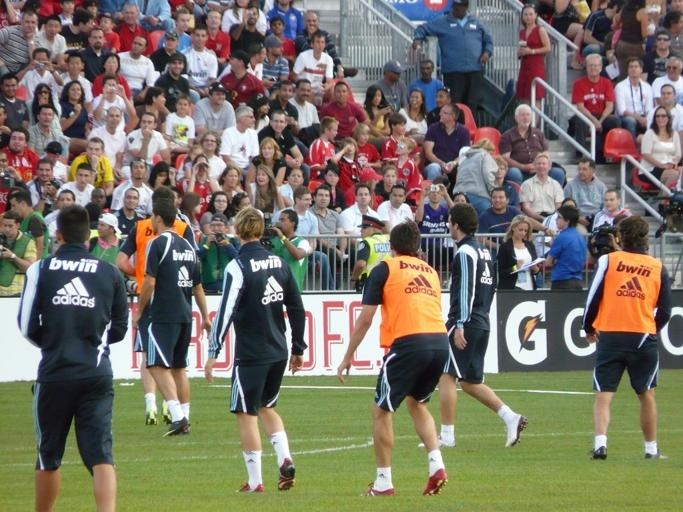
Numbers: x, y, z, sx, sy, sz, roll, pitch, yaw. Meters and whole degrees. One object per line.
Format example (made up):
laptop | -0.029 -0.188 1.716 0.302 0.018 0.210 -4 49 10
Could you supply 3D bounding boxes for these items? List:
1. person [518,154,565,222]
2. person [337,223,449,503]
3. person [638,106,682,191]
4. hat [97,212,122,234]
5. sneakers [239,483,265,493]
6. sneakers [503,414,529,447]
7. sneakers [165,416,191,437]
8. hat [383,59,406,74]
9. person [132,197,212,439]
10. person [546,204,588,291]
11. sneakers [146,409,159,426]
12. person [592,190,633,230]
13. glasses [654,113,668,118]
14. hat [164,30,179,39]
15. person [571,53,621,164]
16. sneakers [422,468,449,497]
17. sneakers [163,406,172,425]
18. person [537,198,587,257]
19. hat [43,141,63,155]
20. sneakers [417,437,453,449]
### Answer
person | 3.590 -1.187 32.827 0.747 1.237 0.687 2 -7 -4
person | 0.781 1.332 23.781 1.186 3.479 0.695 -1 1 3
person | 5.929 -1.971 34.185 0.748 1.496 0.478 -1 1 11
hat | -3.613 -0.521 28.496 0.359 0.290 0.268 21 -4 4
sneakers | -1.155 2.989 23.783 0.323 0.151 0.121 2 -2 14
sneakers | 2.423 2.358 25.610 0.272 0.566 0.196 17 17 4
sneakers | -2.340 2.460 26.285 0.172 0.196 0.410 2 -13 -39
hat | 0.994 -3.577 35.427 0.302 0.179 0.233 1 19 -7
person | -2.394 1.121 26.175 0.991 2.905 0.369 -2 1 -31
person | 3.774 -0.098 30.995 0.711 1.424 1.682 -1 1 7
sneakers | -2.776 2.383 26.938 0.134 0.199 0.198 1 1 2
person | 4.486 -0.736 30.874 0.730 0.738 0.434 0 -6 42
glasses | 5.913 -2.567 34.066 0.207 0.085 0.065 -1 1 10
hat | -3.148 -4.057 34.291 0.113 0.142 0.350 -1 1 29
person | 4.808 -2.765 35.221 0.952 2.061 0.699 -1 1 3
sneakers | 1.187 2.920 23.578 0.167 0.489 0.236 15 28 -29
sneakers | -2.551 2.332 26.857 0.155 0.267 0.276 -2 -39 -1
person | 3.741 -0.406 31.415 0.484 0.354 0.883 9 -35 -9
hat | -4.921 -1.818 31.379 0.186 0.155 0.253 -4 24 -38
sneakers | 1.314 2.625 25.825 0.512 0.244 0.183 5 -8 -3
